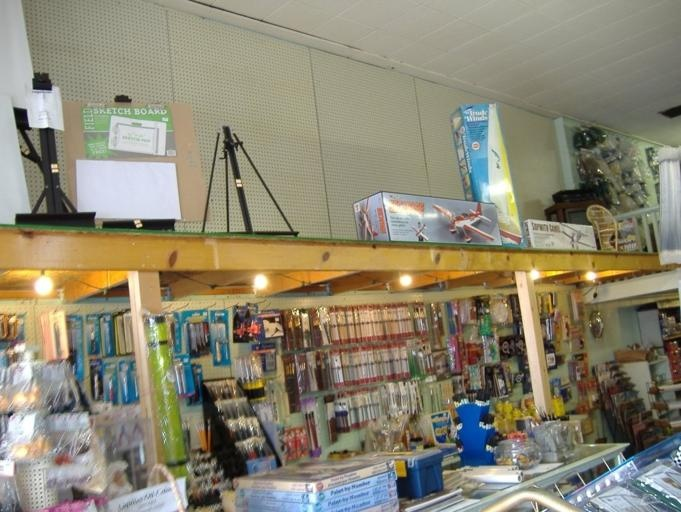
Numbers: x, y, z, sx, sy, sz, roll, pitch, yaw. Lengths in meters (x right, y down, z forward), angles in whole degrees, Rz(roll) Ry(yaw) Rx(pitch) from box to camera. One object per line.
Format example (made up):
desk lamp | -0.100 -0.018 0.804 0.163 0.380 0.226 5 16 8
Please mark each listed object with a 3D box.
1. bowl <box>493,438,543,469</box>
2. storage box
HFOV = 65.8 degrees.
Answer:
bowl | 1.468 1.608 4.341 0.241 0.146 0.253 -2 -5 0
storage box | 0.473 1.459 3.658 0.452 0.193 0.321 -8 -12 43
